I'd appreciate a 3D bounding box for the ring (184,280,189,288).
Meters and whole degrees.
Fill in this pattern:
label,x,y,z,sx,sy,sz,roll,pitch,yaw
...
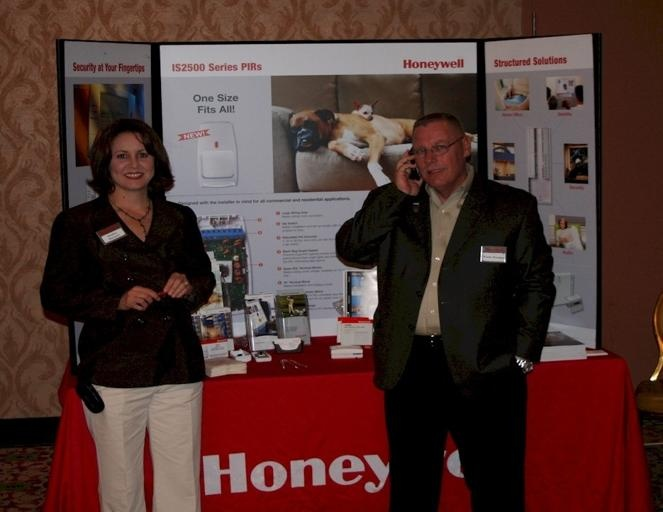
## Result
label,x,y,z,sx,sy,sz,roll,pitch,yaw
ring,-0.577,0.109,2.489,0.019,0.020,0.005,12,-28,-42

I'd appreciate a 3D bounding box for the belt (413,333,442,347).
label,x,y,z,sx,sy,sz,roll,pitch,yaw
belt,0.385,0.337,2.524,0.081,0.049,0.019,2,-14,14

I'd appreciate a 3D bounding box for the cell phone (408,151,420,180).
label,x,y,z,sx,sy,sz,roll,pitch,yaw
cell phone,0.338,-0.387,2.629,0.068,0.100,0.032,-9,7,-31

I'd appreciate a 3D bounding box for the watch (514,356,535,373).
label,x,y,z,sx,sy,sz,roll,pitch,yaw
watch,0.775,0.438,2.529,0.057,0.080,0.029,-12,28,47

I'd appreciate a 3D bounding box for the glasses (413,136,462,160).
label,x,y,z,sx,sy,sz,roll,pitch,yaw
glasses,0.433,-0.436,2.530,0.210,0.097,0.081,0,7,6
